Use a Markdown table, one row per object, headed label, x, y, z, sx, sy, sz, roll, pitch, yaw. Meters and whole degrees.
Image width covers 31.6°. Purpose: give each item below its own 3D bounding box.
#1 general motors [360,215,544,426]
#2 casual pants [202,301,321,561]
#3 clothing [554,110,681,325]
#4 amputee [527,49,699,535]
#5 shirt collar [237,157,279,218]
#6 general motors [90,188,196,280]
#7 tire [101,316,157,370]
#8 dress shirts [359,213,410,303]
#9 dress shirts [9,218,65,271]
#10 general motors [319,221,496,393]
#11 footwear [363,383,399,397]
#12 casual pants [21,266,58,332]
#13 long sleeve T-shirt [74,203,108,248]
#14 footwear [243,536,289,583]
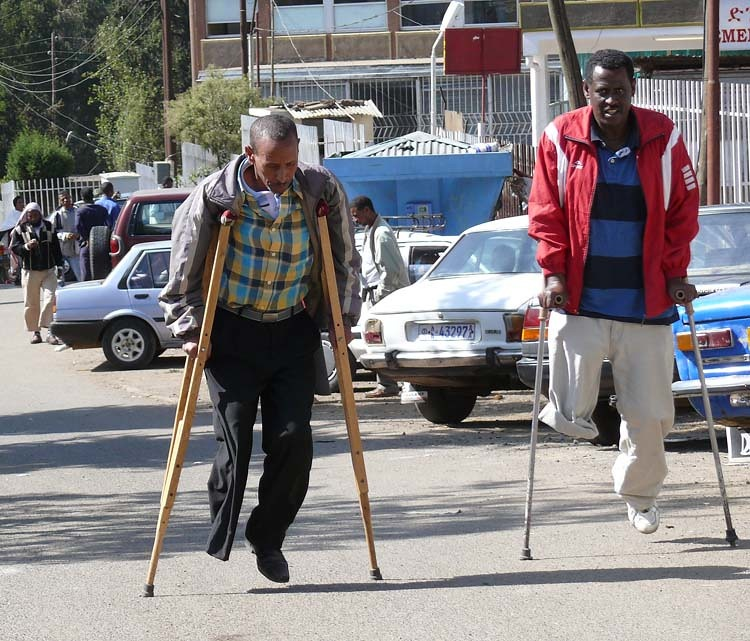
| label | x | y | z | sx | sy | sz | roll | pitch | yaw |
| --- | --- | --- | --- | --- | --- | --- | --- | --- | --- |
| general motors | 0.622 | -0.001 | 10.717 | 1.160 | 0.793 | 2.037 | -2 | 7 | 29 |
| casual pants | -0.569 | 0.543 | 6.703 | 0.609 | 1.210 | 0.407 | -3 | 10 | -3 |
| clothing | 1.293 | -0.494 | 7.019 | 0.667 | 0.938 | 0.506 | 4 | 4 | 15 |
| amputee | 1.278 | -0.113 | 6.940 | 0.815 | 2.475 | 0.720 | -2 | 10 | 3 |
| shirt collar | -0.567 | -0.641 | 6.608 | 0.196 | 0.266 | 0.281 | -1 | -4 | -2 |
| general motors | -3.436 | -1.101 | 18.747 | 1.318 | 1.134 | 2.287 | -2 | 10 | -1 |
| tire | -2.950 | 0.243 | 15.826 | 0.617 | 0.633 | 0.220 | 0 | 4 | 1 |
| dress shirts | 0.067 | -0.552 | 12.415 | 0.500 | 0.798 | 0.867 | -8 | -8 | -9 |
| dress shirts | -4.895 | -1.082 | 19.139 | 0.729 | 0.709 | 0.372 | -2 | 17 | -24 |
| general motors | 0.164 | -0.230 | 13.524 | 1.877 | 0.911 | 1.069 | -4 | 5 | -17 |
| footwear | 0.048 | 0.685 | 13.134 | 0.359 | 0.166 | 0.135 | 2 | 2 | 10 |
| casual pants | -4.862 | -0.308 | 19.135 | 0.413 | 0.937 | 0.344 | -5 | -10 | 1 |
| long sleeve T-shirt | -4.476 | -1.474 | 20.774 | 0.576 | 0.749 | 0.417 | -17 | 26 | -32 |
| footwear | -0.556 | 1.217 | 6.716 | 0.103 | 0.123 | 0.300 | -8 | 23 | -31 |
